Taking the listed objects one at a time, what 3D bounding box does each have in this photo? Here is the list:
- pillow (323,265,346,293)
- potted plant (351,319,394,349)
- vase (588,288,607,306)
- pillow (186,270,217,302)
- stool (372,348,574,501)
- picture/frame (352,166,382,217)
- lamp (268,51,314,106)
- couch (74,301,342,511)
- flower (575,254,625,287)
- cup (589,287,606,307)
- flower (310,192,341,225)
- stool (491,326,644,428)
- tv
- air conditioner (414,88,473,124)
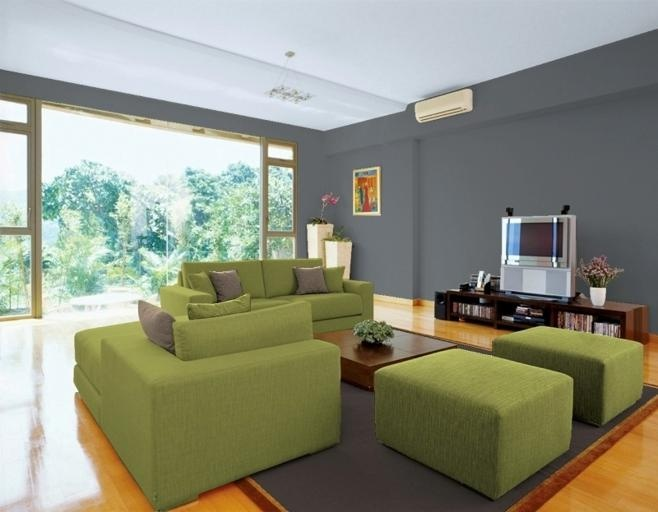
[{"bbox_3d":[0.066,0.318,5.956,0.312,0.319,0.124,0,-8,-12],"label":"pillow"},{"bbox_3d":[0.378,0.705,4.195,0.244,0.145,0.250,3,-5,-19],"label":"potted plant"},{"bbox_3d":[3.036,0.469,5.177,0.188,0.237,0.203,1,-6,-8],"label":"vase"},{"bbox_3d":[-1.404,0.318,5.123,0.123,0.315,0.309,-33,-11,24],"label":"pillow"},{"bbox_3d":[0.832,0.960,2.860,0.791,0.481,0.784,1,0,-44],"label":"stool"},{"bbox_3d":[0.702,-1.138,8.203,0.073,1.101,0.854,-2,3,-38],"label":"picture/frame"},{"bbox_3d":[-0.493,-2.323,6.207,0.371,0.436,0.361,9,-10,-35],"label":"lamp"},{"bbox_3d":[-0.632,0.824,2.647,0.855,0.779,1.510,0,1,-31],"label":"couch"},{"bbox_3d":[3.069,0.201,5.216,0.375,0.395,0.381,-5,16,-9],"label":"flower"},{"bbox_3d":[3.004,0.454,5.160,0.151,0.216,0.201,3,4,29],"label":"cup"},{"bbox_3d":[-0.106,-0.822,8.728,0.395,0.605,0.418,17,4,-18],"label":"flower"},{"bbox_3d":[1.956,0.787,3.530,0.709,0.470,0.721,1,0,-39],"label":"stool"},{"bbox_3d":[2.561,-0.154,5.674,0.224,0.559,0.644,1,-1,-36],"label":"tv"},{"bbox_3d":[1.638,-2.142,6.728,0.174,0.326,0.867,-28,20,-36],"label":"air conditioner"}]
